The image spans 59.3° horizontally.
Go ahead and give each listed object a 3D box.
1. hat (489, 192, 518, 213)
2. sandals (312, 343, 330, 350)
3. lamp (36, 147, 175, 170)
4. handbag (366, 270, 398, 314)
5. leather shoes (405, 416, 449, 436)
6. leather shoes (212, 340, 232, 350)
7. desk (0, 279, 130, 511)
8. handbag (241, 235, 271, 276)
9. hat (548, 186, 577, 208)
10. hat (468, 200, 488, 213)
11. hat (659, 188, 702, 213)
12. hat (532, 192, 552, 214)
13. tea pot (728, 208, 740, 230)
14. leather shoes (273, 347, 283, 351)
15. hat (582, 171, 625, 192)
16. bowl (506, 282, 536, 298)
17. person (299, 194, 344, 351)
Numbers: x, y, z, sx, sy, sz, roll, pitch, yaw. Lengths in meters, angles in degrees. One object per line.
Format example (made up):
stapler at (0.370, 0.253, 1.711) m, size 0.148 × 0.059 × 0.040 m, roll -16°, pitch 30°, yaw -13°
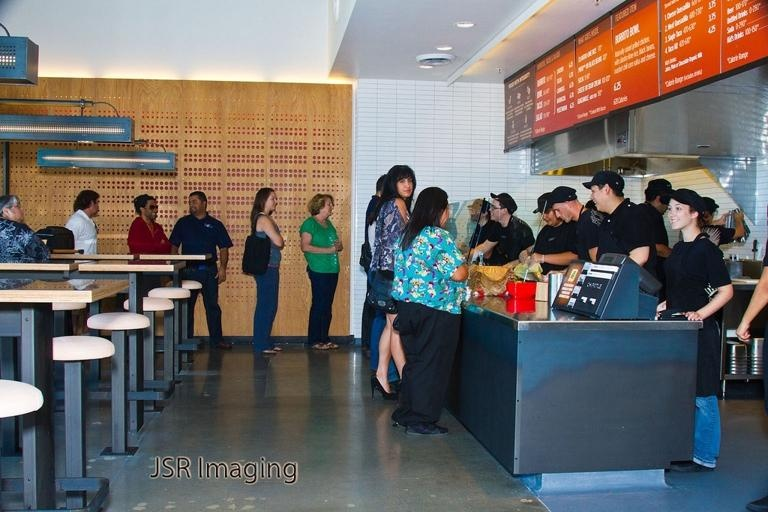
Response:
hat at (1.201, -0.532, 6.711) m, size 0.234 × 0.112 × 0.162 m, roll 31°, pitch 7°, yaw 7°
sandals at (-0.802, 1.194, 8.887) m, size 0.158 × 0.055 × 0.090 m, roll -5°, pitch -4°, yaw 27°
lamp at (-3.563, -1.252, 8.708) m, size 1.648 × 0.231 × 0.434 m, roll 2°, pitch 10°, yaw 6°
handbag at (-0.007, 0.356, 6.562) m, size 0.338 × 0.385 × 0.167 m, roll 6°, pitch -2°, yaw 38°
leather shoes at (0.377, 1.506, 5.965) m, size 0.408 × 0.140 × 0.125 m, roll 0°, pitch 0°, yaw -10°
leather shoes at (-2.128, 1.179, 8.933) m, size 0.258 × 0.095 × 0.098 m, roll -1°, pitch 0°, yaw 6°
desk at (-2.272, 0.930, 4.718) m, size 0.598 × 1.505 × 0.795 m, roll 0°, pitch 10°, yaw -4°
handbag at (-1.547, -0.001, 8.235) m, size 0.348 × 0.508 × 0.223 m, roll -1°, pitch 10°, yaw -12°
hat at (1.699, -0.571, 6.423) m, size 0.269 × 0.123 × 0.177 m, roll 1°, pitch 8°, yaw 11°
hat at (0.947, -0.491, 6.760) m, size 0.169 × 0.078 × 0.118 m, roll 14°, pitch 9°, yaw 8°
hat at (2.381, -0.426, 5.292) m, size 0.241 × 0.193 × 0.188 m, roll 6°, pitch 11°, yaw 26°
hat at (1.550, -0.503, 6.548) m, size 0.082 × 0.190 × 0.165 m, roll 17°, pitch 15°, yaw -5°
tea pot at (4.107, -0.415, 7.869) m, size 0.067 × 0.221 × 0.069 m, roll 0°, pitch 1°, yaw 0°
leather shoes at (-1.369, 1.208, 8.763) m, size 0.047 × 0.052 × 0.144 m, roll 0°, pitch -4°, yaw -38°
hat at (1.874, -0.632, 5.761) m, size 0.300 × 0.146 × 0.204 m, roll 15°, pitch 10°, yaw 20°
bowl at (1.217, 0.311, 5.998) m, size 0.237 × 0.171 × 0.351 m, roll 2°, pitch 10°, yaw 8°
person at (-0.805, 0.226, 8.715) m, size 0.501 × 2.030 × 0.335 m, roll 0°, pitch 10°, yaw -8°
